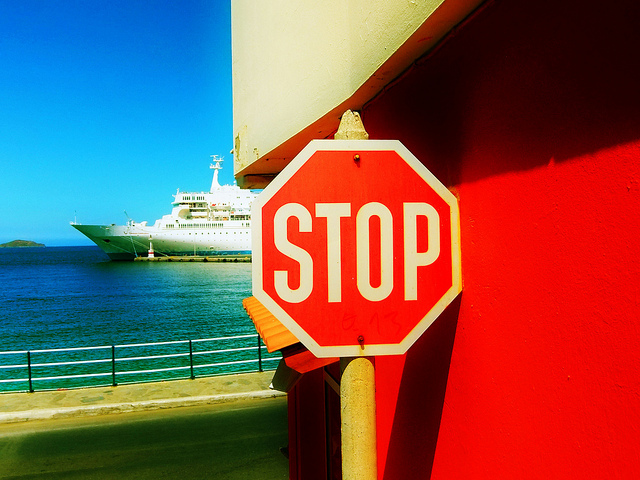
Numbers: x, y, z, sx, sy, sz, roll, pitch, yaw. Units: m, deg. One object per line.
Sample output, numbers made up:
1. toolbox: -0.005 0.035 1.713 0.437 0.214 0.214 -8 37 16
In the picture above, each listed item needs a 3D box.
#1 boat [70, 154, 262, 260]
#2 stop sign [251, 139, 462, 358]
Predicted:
1. boat: -13.908 -3.121 70.167 24.652 9.462 4.253 -2 20 -38
2. stop sign: 0.139 0.038 2.784 0.945 0.879 0.099 0 -2 -23
